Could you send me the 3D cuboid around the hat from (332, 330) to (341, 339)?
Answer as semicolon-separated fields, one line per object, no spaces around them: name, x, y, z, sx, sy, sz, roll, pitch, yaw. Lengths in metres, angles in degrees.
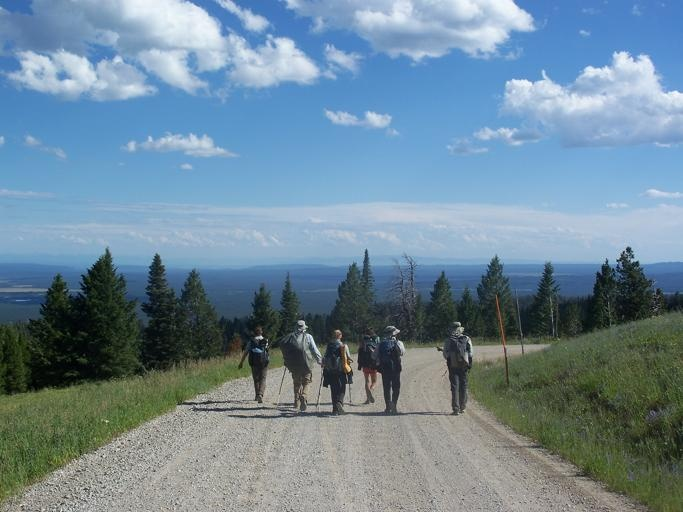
hat;-0.100;2.211;14.817;0.162;0.254;0.224;2;12;28

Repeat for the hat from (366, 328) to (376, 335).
hat;0.931;2.426;16.747;0.191;0.245;0.250;3;-5;-26

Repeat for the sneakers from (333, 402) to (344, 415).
sneakers;-0.093;4.065;14.062;0.155;0.435;0.175;-14;8;-5

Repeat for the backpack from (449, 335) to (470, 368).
backpack;3.409;2.793;15.120;0.575;0.944;0.512;2;-33;1

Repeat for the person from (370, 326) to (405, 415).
person;1.450;3.263;15.485;0.828;2.454;0.919;0;3;-45

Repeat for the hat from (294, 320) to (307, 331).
hat;-1.192;2.002;15.063;0.287;0.182;0.303;3;-7;6

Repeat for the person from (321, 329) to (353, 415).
person;-0.116;3.185;14.607;0.823;2.237;1.215;0;-1;0

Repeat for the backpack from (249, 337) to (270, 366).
backpack;-2.436;2.796;15.295;0.612;0.877;0.452;1;-1;-12
